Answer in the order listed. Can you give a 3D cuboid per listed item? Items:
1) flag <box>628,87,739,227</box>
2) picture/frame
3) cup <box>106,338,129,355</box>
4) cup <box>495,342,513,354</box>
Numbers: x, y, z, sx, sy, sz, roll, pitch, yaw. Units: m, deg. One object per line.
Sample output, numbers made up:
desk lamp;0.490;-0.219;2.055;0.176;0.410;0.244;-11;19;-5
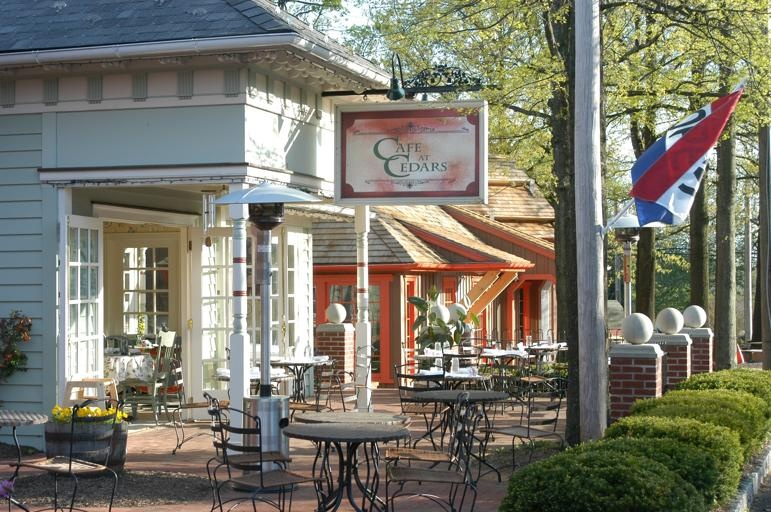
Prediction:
flag;4.572;-1.677;22.791;1.107;3.148;0.281;13;-32;37
picture/frame;0.497;-1.785;25.796;1.917;1.241;0.124;0;0;9
cup;-4.993;1.653;27.776;0.276;0.436;0.444;-1;1;-14
cup;2.467;1.913;31.205;0.322;0.227;0.314;-1;-2;0
